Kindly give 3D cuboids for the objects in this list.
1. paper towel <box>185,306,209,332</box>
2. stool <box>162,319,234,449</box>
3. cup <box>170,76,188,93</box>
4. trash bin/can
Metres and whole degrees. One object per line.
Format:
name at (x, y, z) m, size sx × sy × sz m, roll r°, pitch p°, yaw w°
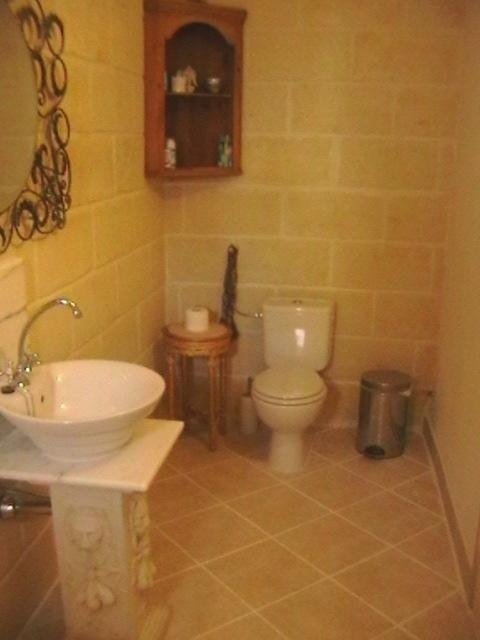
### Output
paper towel at (-0.208, 0.003, 2.871) m, size 0.114 × 0.094 × 0.115 m, roll 27°, pitch 41°, yaw 35°
stool at (-0.225, 0.330, 2.971) m, size 0.370 × 0.621 × 0.435 m, roll 1°, pitch 12°, yaw -1°
cup at (-0.273, -1.064, 2.607) m, size 0.074 × 0.089 × 0.041 m, roll 0°, pitch 12°, yaw -5°
trash bin/can at (0.765, 0.461, 2.971) m, size 0.233 × 0.403 × 0.383 m, roll 9°, pitch 15°, yaw 32°
